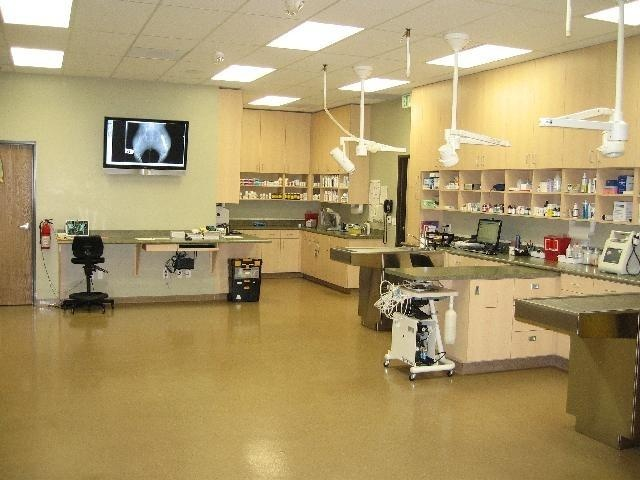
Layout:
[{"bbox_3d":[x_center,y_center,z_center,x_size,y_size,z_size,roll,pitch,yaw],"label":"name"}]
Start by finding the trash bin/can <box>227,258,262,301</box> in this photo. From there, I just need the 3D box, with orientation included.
[{"bbox_3d":[-1.357,0.664,9.406,0.883,1.005,0.676,0,0,-15],"label":"trash bin/can"}]

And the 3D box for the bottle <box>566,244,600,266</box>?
[{"bbox_3d":[3.281,0.187,6.427,0.367,0.130,0.255,-1,6,-11],"label":"bottle"}]

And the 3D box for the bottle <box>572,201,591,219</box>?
[{"bbox_3d":[3.269,-0.387,6.438,0.219,0.237,0.382,4,7,21],"label":"bottle"}]

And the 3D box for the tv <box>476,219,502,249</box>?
[{"bbox_3d":[2.553,-0.086,7.725,0.064,0.464,0.344,-6,19,-35],"label":"tv"}]

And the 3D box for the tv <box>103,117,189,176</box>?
[{"bbox_3d":[-2.952,-1.590,8.559,1.056,0.723,0.104,0,4,-19],"label":"tv"}]

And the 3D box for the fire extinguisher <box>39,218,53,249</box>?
[{"bbox_3d":[-4.450,-0.087,8.378,0.193,0.501,0.173,-2,7,-30],"label":"fire extinguisher"}]

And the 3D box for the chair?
[{"bbox_3d":[-3.720,0.518,8.234,0.812,1.228,0.711,-1,7,-26],"label":"chair"}]
